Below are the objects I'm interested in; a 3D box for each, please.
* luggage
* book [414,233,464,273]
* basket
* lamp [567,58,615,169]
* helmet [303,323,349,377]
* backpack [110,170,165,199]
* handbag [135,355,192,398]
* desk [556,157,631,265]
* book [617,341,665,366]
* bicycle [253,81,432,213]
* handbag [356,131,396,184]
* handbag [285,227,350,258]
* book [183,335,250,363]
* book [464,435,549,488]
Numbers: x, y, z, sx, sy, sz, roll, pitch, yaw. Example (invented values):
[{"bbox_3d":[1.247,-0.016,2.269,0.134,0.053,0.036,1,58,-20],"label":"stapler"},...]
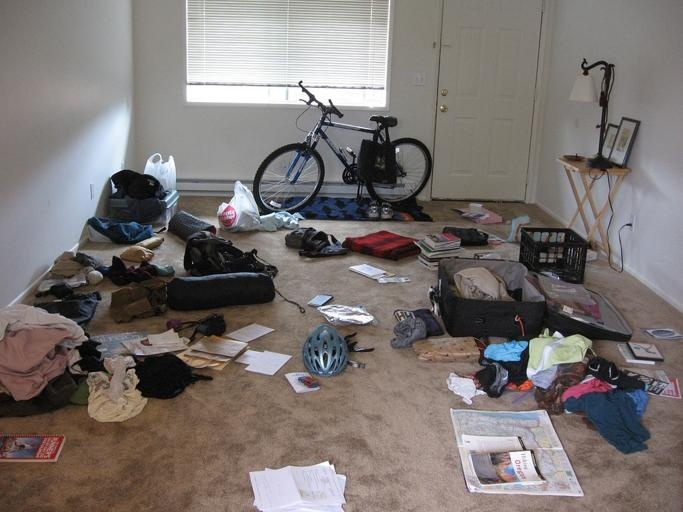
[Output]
[{"bbox_3d":[1.125,0.338,3.087,0.855,0.195,0.636,-2,19,-4],"label":"luggage"},{"bbox_3d":[0.802,-0.058,4.144,0.314,0.108,0.315,-2,21,-9],"label":"book"},{"bbox_3d":[1.667,-0.028,4.008,0.524,0.308,0.511,3,21,5],"label":"basket"},{"bbox_3d":[2.199,-1.266,4.351,0.427,0.825,0.975,14,25,20],"label":"lamp"},{"bbox_3d":[-0.085,0.512,2.726,0.220,0.275,0.086,4,-11,-3],"label":"helmet"},{"bbox_3d":[-1.999,-0.690,4.883,0.349,0.139,0.367,4,11,-16],"label":"backpack"},{"bbox_3d":[-0.914,0.623,2.582,0.282,0.133,0.221,-3,24,-18],"label":"handbag"},{"bbox_3d":[2.208,-0.380,4.324,0.386,0.761,0.849,3,24,12],"label":"desk"},{"bbox_3d":[1.744,0.566,2.895,0.143,0.032,0.141,0,15,-1],"label":"book"},{"bbox_3d":[0.053,-1.345,5.994,2.404,1.457,1.147,-4,26,-13],"label":"bicycle"},{"bbox_3d":[0.404,-1.032,5.484,0.440,0.448,0.223,6,24,3],"label":"handbag"},{"bbox_3d":[-0.208,-0.119,4.400,0.441,0.165,0.424,-9,26,-28],"label":"handbag"},{"bbox_3d":[-0.711,0.531,2.874,0.281,0.035,0.223,12,24,16],"label":"book"},{"bbox_3d":[0.707,0.880,2.200,0.291,0.057,0.283,2,23,-6],"label":"book"}]
